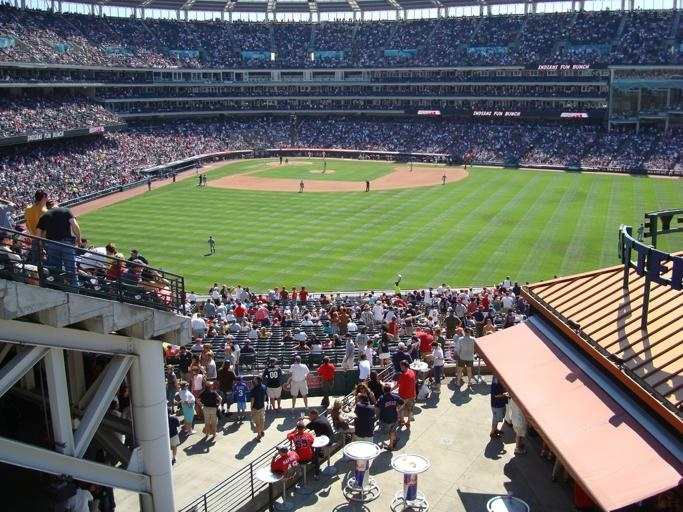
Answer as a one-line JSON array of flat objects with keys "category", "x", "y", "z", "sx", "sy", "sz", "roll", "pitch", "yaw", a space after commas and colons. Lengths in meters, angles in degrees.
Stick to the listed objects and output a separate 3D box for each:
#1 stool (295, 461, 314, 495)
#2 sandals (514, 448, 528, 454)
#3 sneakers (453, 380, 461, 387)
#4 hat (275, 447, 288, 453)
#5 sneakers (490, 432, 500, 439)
[{"category": "stool", "x": -0.905, "y": 5.105, "z": 14.413, "sx": 0.398, "sy": 0.710, "sz": 0.770, "roll": -3, "pitch": 10, "yaw": -5}, {"category": "sandals", "x": 4.600, "y": 4.930, "z": 15.463, "sx": 0.332, "sy": 0.126, "sz": 0.123, "roll": -12, "pitch": 16, "yaw": -4}, {"category": "sneakers", "x": 3.697, "y": 3.959, "z": 19.112, "sx": 0.136, "sy": 0.085, "sz": 0.234, "roll": -9, "pitch": 7, "yaw": -10}, {"category": "hat", "x": -1.290, "y": 4.187, "z": 13.229, "sx": 0.184, "sy": 0.162, "sz": 0.121, "roll": -11, "pitch": 14, "yaw": 4}, {"category": "sneakers", "x": 4.135, "y": 4.745, "z": 16.167, "sx": 0.252, "sy": 0.149, "sz": 0.109, "roll": -5, "pitch": 15, "yaw": 5}]
